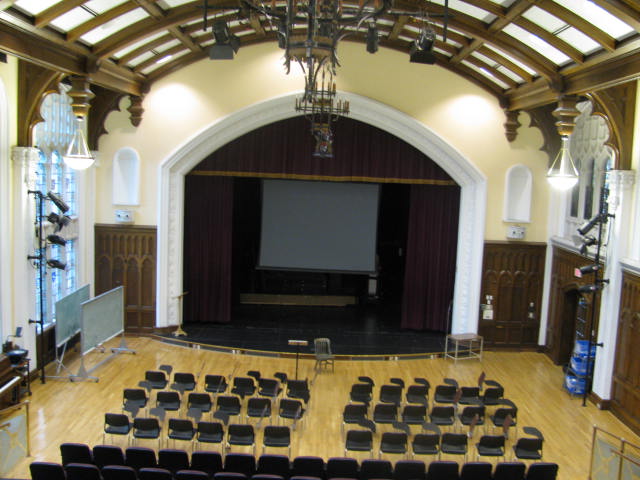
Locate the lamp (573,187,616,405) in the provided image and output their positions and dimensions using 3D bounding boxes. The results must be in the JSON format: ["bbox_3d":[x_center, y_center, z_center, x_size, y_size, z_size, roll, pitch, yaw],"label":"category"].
[{"bbox_3d":[7.417,1.413,14.348,0.842,5.818,2.009,3,5,27],"label":"lamp"}]

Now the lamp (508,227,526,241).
[{"bbox_3d":[6.306,-0.230,16.881,0.600,0.493,0.369,0,4,3],"label":"lamp"}]

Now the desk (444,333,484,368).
[{"bbox_3d":[4.588,3.382,16.889,0.992,0.828,0.754,0,3,-12],"label":"desk"}]

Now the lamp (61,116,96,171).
[{"bbox_3d":[-5.358,-2.212,11.735,0.654,1.276,0.649,0,4,-35],"label":"lamp"}]

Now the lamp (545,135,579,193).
[{"bbox_3d":[5.263,-1.678,11.408,0.580,1.108,0.900,3,5,26],"label":"lamp"}]

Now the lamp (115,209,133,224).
[{"bbox_3d":[-6.240,-0.757,16.766,0.416,0.447,0.437,5,5,29],"label":"lamp"}]
